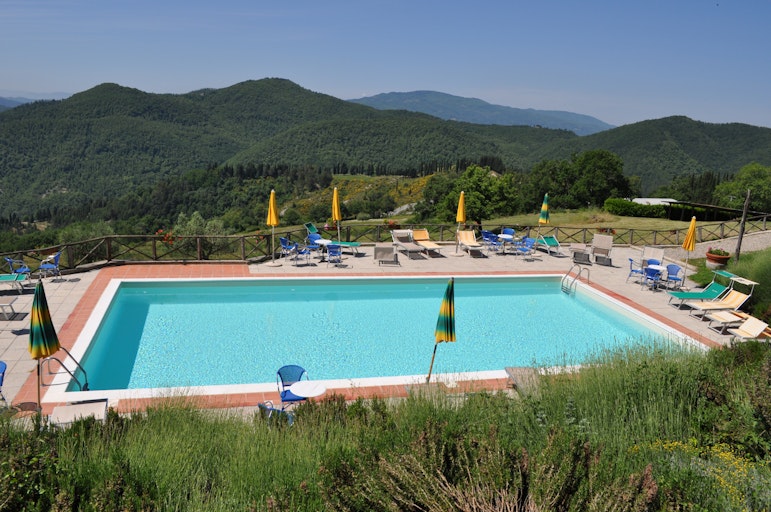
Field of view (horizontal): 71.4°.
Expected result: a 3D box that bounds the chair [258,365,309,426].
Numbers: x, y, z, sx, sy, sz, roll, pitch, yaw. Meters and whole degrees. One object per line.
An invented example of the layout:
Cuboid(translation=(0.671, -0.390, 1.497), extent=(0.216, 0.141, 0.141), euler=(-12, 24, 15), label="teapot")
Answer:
Cuboid(translation=(-1.681, 2.362, 9.150), extent=(0.749, 0.880, 0.658), euler=(2, 1, -2), label="chair")
